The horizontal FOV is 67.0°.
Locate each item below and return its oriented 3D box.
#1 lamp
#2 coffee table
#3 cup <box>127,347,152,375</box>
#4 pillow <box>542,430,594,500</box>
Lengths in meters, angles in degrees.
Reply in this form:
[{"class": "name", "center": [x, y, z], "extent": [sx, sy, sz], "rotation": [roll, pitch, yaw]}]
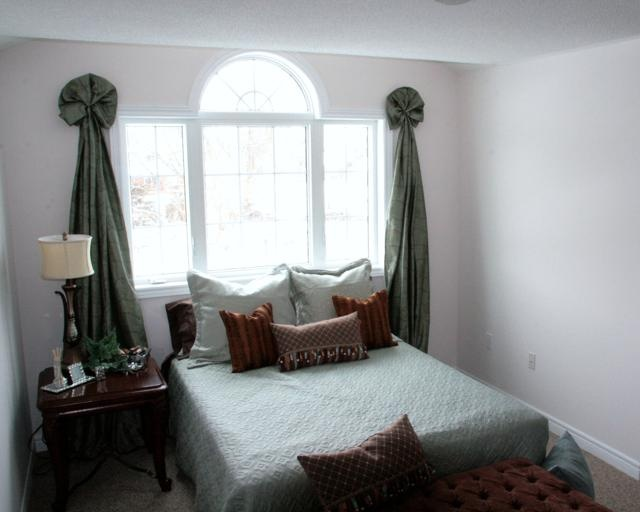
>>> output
[{"class": "lamp", "center": [-1.577, 0.253, 3.101], "extent": [0.310, 0.811, 0.442], "rotation": [-9, 10, -28]}, {"class": "coffee table", "center": [-1.365, 1.161, 3.154], "extent": [0.794, 0.831, 0.766], "rotation": [-3, 4, -29]}, {"class": "cup", "center": [-1.182, 0.669, 3.130], "extent": [0.115, 0.074, 0.144], "rotation": [-2, 23, -13]}, {"class": "pillow", "center": [1.299, 1.039, 2.469], "extent": [0.082, 0.277, 0.279], "rotation": [-28, 42, -13]}]
